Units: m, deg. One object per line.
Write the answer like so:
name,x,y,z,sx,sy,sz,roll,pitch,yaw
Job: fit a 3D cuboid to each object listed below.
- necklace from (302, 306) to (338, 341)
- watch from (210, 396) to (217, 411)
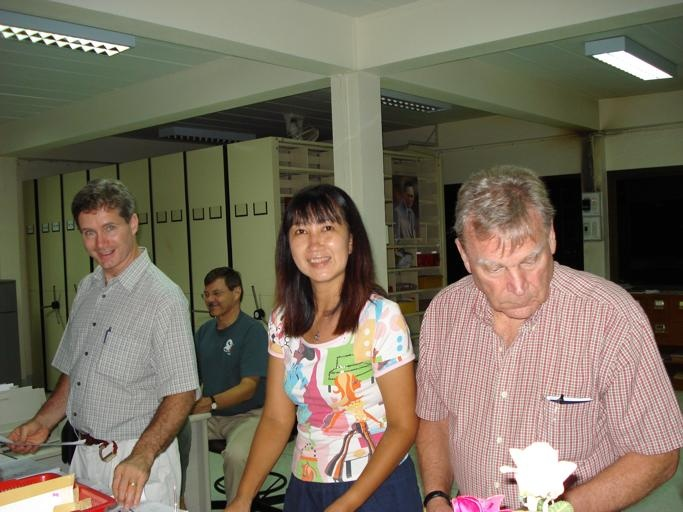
necklace,-0.076,0.242,1.813,0.096,0.128,0.038,-5,-29,36
watch,-0.852,0.985,3.476,0.045,0.079,0.074,-1,-5,-13
